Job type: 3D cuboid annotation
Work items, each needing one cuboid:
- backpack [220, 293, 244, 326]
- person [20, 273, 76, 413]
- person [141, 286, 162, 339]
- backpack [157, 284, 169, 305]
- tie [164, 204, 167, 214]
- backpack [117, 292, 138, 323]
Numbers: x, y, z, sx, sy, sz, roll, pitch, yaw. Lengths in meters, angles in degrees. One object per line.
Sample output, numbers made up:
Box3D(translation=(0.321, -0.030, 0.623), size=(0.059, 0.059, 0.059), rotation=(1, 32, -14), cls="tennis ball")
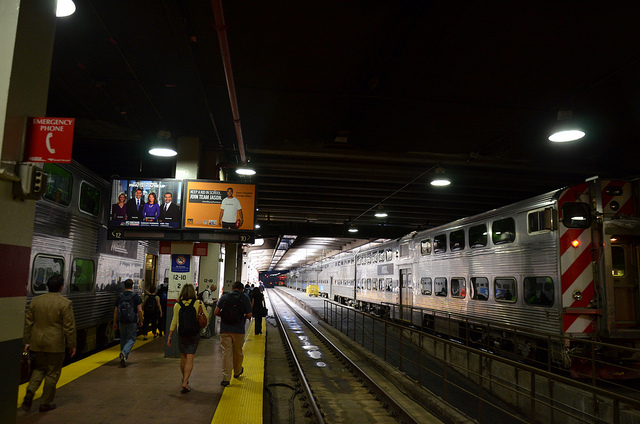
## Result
Box3D(translation=(-2.024, 2.234, 9.834), size=(0.565, 0.816, 0.461), rotation=(9, 0, -7), cls="backpack")
Box3D(translation=(-5.081, 2.407, 7.791), size=(0.903, 2.459, 0.593), rotation=(6, -13, -20), cls="person")
Box3D(translation=(-5.826, 3.465, 14.377), size=(0.680, 1.772, 1.368), rotation=(6, -13, -21), cls="person")
Box3D(translation=(-5.691, 2.935, 14.936), size=(0.303, 0.720, 0.842), rotation=(6, -14, -24), cls="backpack")
Box3D(translation=(-4.186, -0.080, 11.200), size=(0.035, 0.267, 0.074), rotation=(6, -9, -5), cls="tie")
Box3D(translation=(-5.114, 2.485, 10.905), size=(0.515, 0.830, 0.455), rotation=(1, -21, -18), cls="backpack")
